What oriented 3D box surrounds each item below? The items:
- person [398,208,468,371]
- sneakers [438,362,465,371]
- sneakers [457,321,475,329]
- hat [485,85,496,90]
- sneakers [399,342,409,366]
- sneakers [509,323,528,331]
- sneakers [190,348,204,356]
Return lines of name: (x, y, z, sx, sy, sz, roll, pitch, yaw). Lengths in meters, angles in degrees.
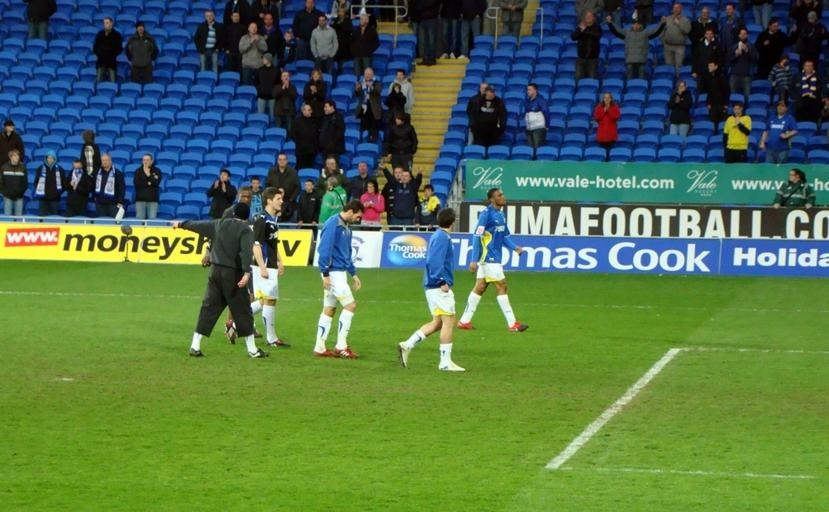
person: (0.451, 0.644, 25.882, 1.179, 3.226, 1.285, 2, 4, 2)
sneakers: (0.711, 2.199, 25.518, 0.549, 0.175, 0.175, 0, 1, 0)
sneakers: (1.129, 1.564, 28.927, 0.384, 0.116, 0.160, 3, -36, -28)
hat: (2.182, -4.828, 36.997, 0.314, 0.158, 0.301, 2, 12, 0)
sneakers: (-0.229, 1.955, 25.610, 0.262, 0.466, 0.175, -2, 15, -3)
sneakers: (2.293, 1.587, 28.652, 0.388, 0.141, 0.174, -2, 3, 11)
sneakers: (-4.473, 1.976, 26.118, 0.144, 0.117, 0.324, -39, -30, 19)
